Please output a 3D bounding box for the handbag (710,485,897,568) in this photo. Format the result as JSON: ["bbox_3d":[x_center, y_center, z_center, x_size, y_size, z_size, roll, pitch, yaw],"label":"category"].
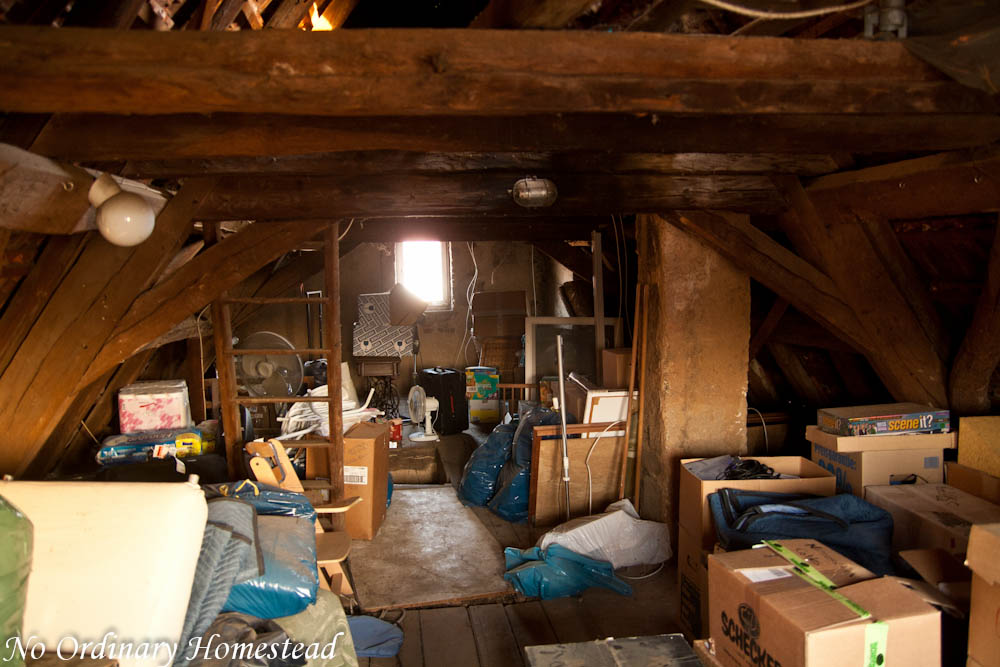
[{"bbox_3d":[1.589,0.972,3.833,0.509,0.157,0.499,0,6,-6],"label":"handbag"}]

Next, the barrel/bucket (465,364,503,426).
[{"bbox_3d":[-0.191,0.714,8.562,0.369,0.677,0.440,-1,-5,-1],"label":"barrel/bucket"}]

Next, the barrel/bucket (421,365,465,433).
[{"bbox_3d":[-0.642,0.779,8.470,0.375,0.618,0.655,-6,8,-21],"label":"barrel/bucket"}]
